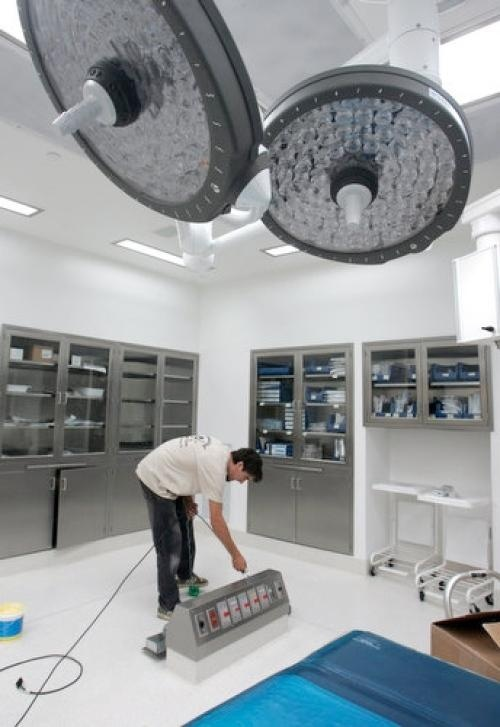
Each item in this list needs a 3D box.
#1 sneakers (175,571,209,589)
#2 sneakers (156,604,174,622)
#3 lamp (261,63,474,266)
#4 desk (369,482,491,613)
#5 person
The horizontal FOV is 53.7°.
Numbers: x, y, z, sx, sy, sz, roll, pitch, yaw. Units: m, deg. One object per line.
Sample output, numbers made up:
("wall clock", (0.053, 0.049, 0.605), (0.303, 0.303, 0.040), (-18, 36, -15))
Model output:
("sneakers", (-0.436, 1.684, 3.819), (0.271, 0.125, 0.102), (-1, 0, -20))
("sneakers", (-0.582, 1.657, 3.283), (0.037, 0.086, 0.176), (6, -8, -41))
("lamp", (0.121, -0.201, 0.551), (0.213, 0.111, 0.260), (1, -6, 1))
("desk", (1.449, 1.473, 3.932), (0.306, 0.709, 0.785), (7, -9, -33))
("person", (-0.414, 1.099, 3.352), (0.702, 1.207, 1.118), (3, -6, -16))
